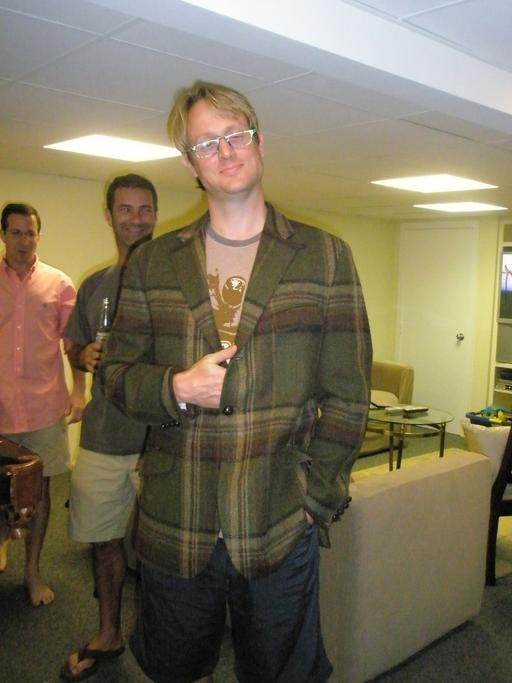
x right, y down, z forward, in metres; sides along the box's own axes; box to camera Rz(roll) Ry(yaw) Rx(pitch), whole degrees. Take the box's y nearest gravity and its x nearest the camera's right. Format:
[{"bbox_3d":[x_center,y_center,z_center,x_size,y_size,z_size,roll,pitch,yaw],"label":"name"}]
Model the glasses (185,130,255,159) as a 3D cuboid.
[{"bbox_3d":[-0.068,-0.374,1.060,0.135,0.063,0.084,1,7,1],"label":"glasses"}]
